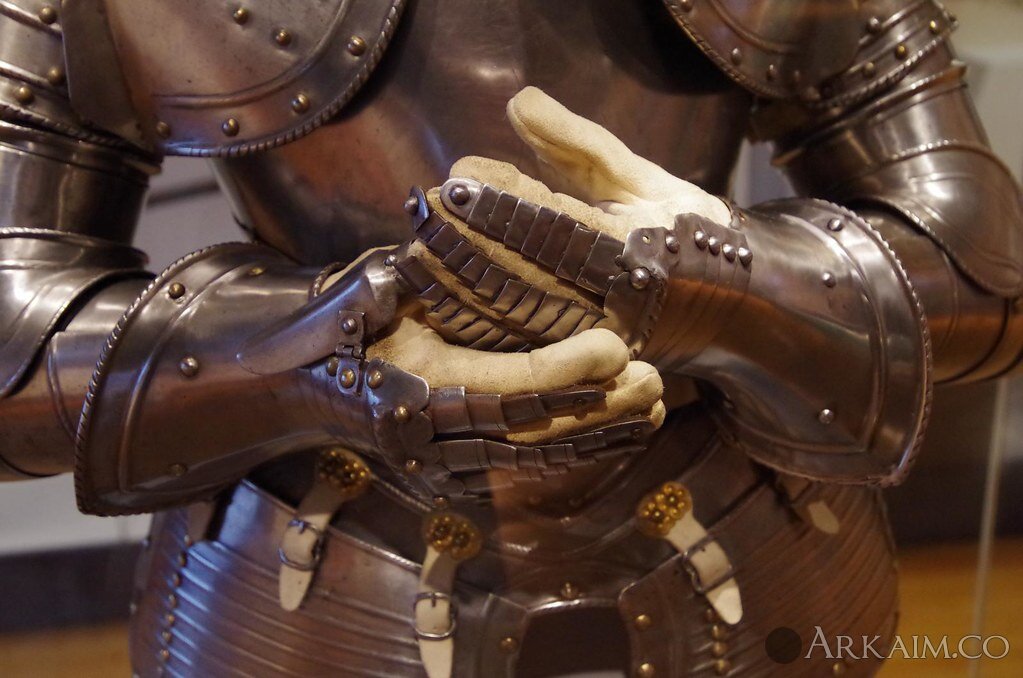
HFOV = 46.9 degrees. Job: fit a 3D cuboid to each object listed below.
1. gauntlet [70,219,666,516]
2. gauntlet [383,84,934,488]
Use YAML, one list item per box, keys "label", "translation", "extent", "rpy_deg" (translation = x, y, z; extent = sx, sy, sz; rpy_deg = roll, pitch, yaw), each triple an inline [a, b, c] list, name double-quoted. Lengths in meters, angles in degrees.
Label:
- label: "gauntlet"
  translation: [-0.247, 0.065, 1.527]
  extent: [0.536, 0.287, 0.402]
  rpy_deg: [3, 0, 1]
- label: "gauntlet"
  translation: [0.218, -0.083, 1.611]
  extent: [0.750, 0.349, 0.409]
  rpy_deg: [17, 49, -17]
